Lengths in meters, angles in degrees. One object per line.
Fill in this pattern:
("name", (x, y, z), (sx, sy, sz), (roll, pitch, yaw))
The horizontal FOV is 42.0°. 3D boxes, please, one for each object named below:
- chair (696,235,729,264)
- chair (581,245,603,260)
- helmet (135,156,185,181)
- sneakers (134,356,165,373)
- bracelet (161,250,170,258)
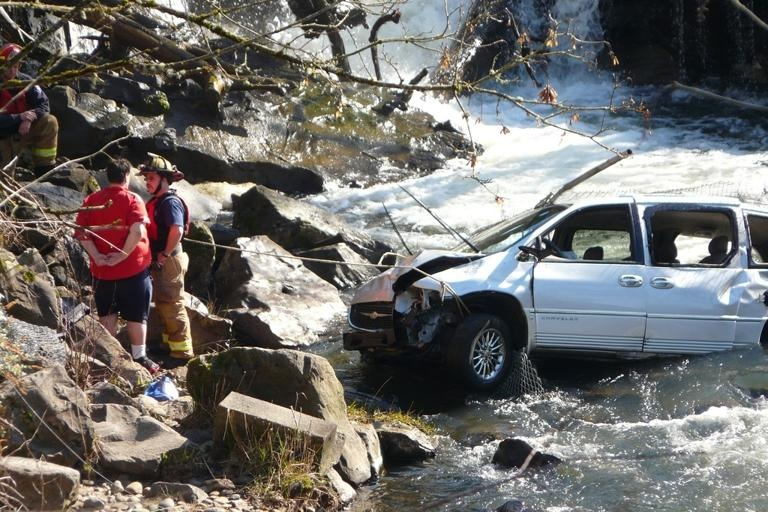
("chair", (4.885, -0.102, 14.824), (0.490, 0.516, 0.380), (2, 1, -35))
("chair", (3.065, -0.043, 14.771), (0.284, 0.241, 0.207), (3, 0, -12))
("helmet", (-3.432, -1.341, 15.057), (0.660, 0.323, 0.453), (17, 0, -2))
("sneakers", (-3.414, 1.559, 14.473), (0.350, 0.131, 0.203), (37, 2, -2))
("bracelet", (-3.248, -0.040, 14.911), (0.128, 0.083, 0.130), (-1, 3, -35))
